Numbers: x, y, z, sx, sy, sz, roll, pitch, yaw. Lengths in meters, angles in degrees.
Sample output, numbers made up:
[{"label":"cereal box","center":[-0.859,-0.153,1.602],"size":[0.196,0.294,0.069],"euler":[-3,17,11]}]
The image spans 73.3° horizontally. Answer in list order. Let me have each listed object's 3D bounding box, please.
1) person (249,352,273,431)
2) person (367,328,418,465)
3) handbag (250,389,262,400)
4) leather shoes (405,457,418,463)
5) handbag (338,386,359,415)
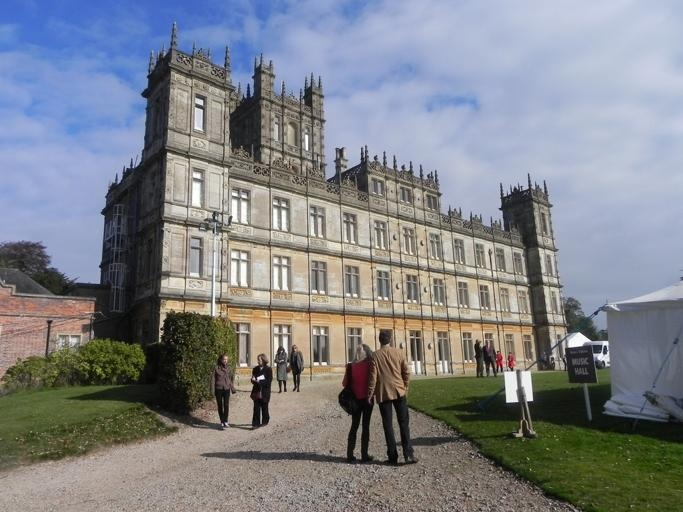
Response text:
[{"label":"person","center":[-2.812,4.726,16.232],"size":[0.671,2.463,1.281],"euler":[0,-13,-9]},{"label":"person","center":[1.200,3.343,10.963],"size":[0.939,3.132,1.038],"euler":[-6,-13,18]},{"label":"handbag","center":[-2.919,4.787,15.861],"size":[0.382,0.385,0.229],"euler":[-4,-13,9]},{"label":"leather shoes","center":[1.665,4.783,10.760],"size":[0.184,0.071,0.157],"euler":[-10,-13,30]},{"label":"handbag","center":[0.173,3.446,10.962],"size":[0.415,0.634,0.342],"euler":[-7,-13,19]}]
